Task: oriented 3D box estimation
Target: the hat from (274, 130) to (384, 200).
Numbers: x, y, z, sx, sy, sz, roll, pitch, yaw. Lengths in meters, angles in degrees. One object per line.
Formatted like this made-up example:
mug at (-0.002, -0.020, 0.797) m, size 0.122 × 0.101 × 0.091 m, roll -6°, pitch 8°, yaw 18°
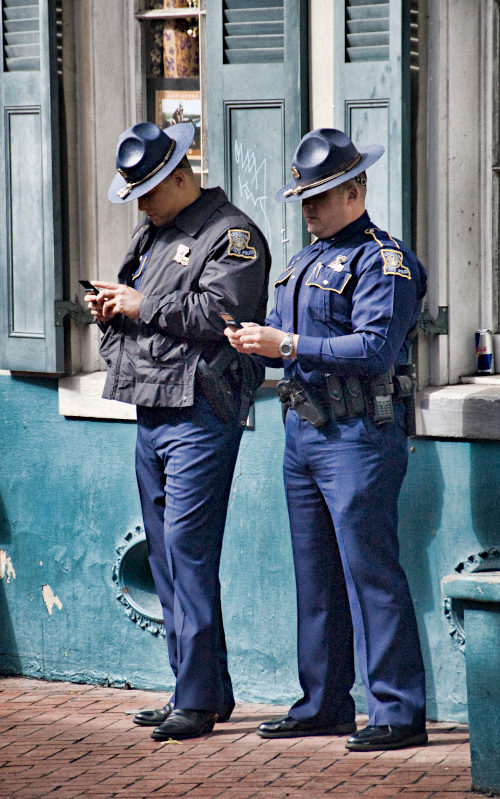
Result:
hat at (0.226, -0.700, 4.865) m, size 0.240 × 0.095 × 0.204 m, roll -41°, pitch 28°, yaw -26°

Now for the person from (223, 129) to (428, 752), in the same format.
person at (0.242, 0.137, 4.988) m, size 0.552 × 1.862 × 0.419 m, roll -1°, pitch 4°, yaw 13°

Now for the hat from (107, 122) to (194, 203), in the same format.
hat at (-0.311, -0.738, 5.192) m, size 0.268 × 0.249 × 0.288 m, roll -2°, pitch 5°, yaw -5°

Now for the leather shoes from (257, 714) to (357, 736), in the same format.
leather shoes at (0.164, 1.026, 5.171) m, size 0.280 × 0.089 × 0.104 m, roll 2°, pitch -7°, yaw 3°

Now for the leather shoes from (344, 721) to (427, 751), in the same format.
leather shoes at (0.400, 1.015, 4.956) m, size 0.227 × 0.095 × 0.093 m, roll 3°, pitch -5°, yaw -15°

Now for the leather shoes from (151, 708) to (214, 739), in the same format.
leather shoes at (-0.207, 1.007, 5.169) m, size 0.195 × 0.092 × 0.078 m, roll 1°, pitch -3°, yaw -36°
